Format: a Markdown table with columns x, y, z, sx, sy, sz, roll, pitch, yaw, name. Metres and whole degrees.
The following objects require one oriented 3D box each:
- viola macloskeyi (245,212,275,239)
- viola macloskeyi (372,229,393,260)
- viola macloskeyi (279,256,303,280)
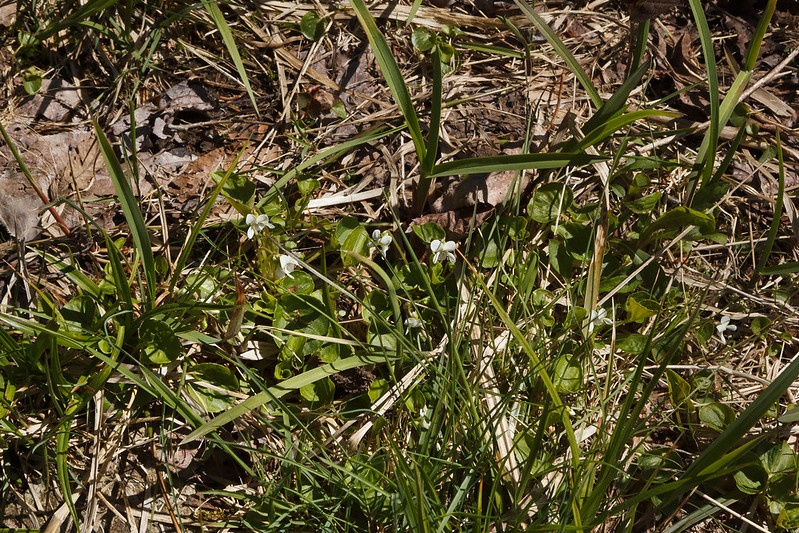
| x | y | z | sx | sy | sz | roll | pitch | yaw | name |
| --- | --- | --- | --- | --- | --- | --- | --- | --- | --- |
| -0.628 | -0.193 | 3.274 | 0.113 | 0.045 | 0.114 | -42 | 81 | -12 | viola macloskeyi |
| -0.083 | -0.111 | 3.324 | 0.059 | 0.127 | 0.097 | -27 | 95 | -14 | viola macloskeyi |
| -0.493 | 0.001 | 3.249 | 0.082 | 0.034 | 0.100 | 1 | 102 | 4 | viola macloskeyi |
